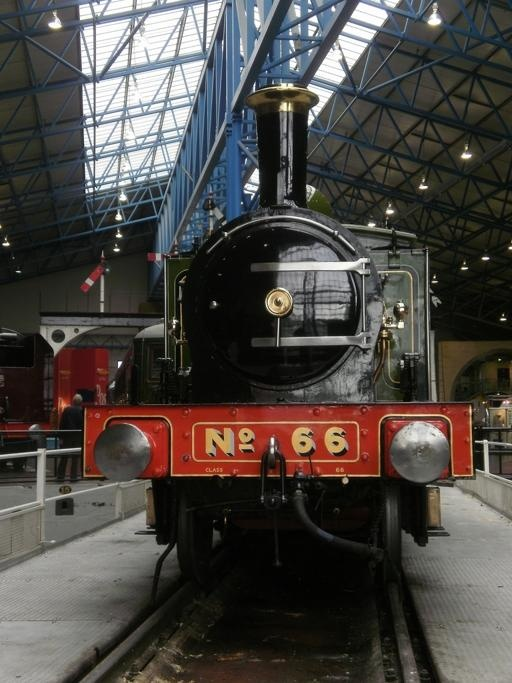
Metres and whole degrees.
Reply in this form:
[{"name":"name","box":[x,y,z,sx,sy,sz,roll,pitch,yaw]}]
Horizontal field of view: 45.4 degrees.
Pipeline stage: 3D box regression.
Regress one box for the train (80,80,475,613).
[{"name":"train","box":[0.229,-0.129,4.090,2.114,3.306,2.164,-2,-10,13]}]
